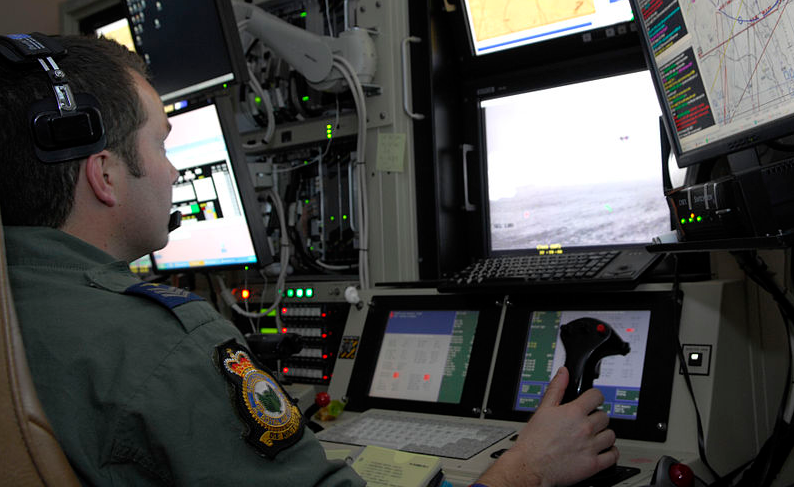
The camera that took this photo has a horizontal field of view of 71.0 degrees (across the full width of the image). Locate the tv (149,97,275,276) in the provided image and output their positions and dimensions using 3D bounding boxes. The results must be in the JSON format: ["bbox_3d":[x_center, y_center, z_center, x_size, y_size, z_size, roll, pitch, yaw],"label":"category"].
[{"bbox_3d":[-0.742,-0.216,2.228,0.764,0.828,0.164,-6,7,41],"label":"tv"}]

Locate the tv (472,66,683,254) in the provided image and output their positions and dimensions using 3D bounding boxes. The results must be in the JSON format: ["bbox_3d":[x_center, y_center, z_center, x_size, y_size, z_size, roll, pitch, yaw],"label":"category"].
[{"bbox_3d":[0.712,-0.325,2.112,0.761,0.606,0.055,-3,-1,28],"label":"tv"}]
